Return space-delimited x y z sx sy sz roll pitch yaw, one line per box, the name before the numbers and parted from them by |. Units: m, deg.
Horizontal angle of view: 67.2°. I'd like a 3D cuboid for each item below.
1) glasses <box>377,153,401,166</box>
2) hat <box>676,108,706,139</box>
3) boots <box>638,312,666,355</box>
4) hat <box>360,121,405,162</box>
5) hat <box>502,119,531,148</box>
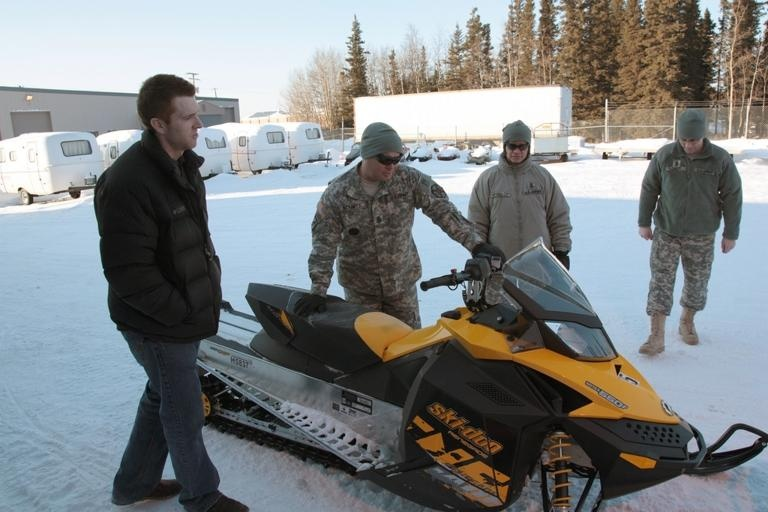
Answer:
glasses | 0.074 -0.794 4.758 0.145 0.096 0.236 9 18 42
hat | 3.221 -1.384 6.093 0.272 0.313 0.297 3 15 25
boots | 2.848 0.845 6.215 0.502 0.445 0.209 -4 6 -45
hat | -0.044 -0.931 4.815 0.325 0.257 0.311 -18 15 -11
hat | 1.310 -1.214 5.762 0.273 0.202 0.258 -1 7 -6
